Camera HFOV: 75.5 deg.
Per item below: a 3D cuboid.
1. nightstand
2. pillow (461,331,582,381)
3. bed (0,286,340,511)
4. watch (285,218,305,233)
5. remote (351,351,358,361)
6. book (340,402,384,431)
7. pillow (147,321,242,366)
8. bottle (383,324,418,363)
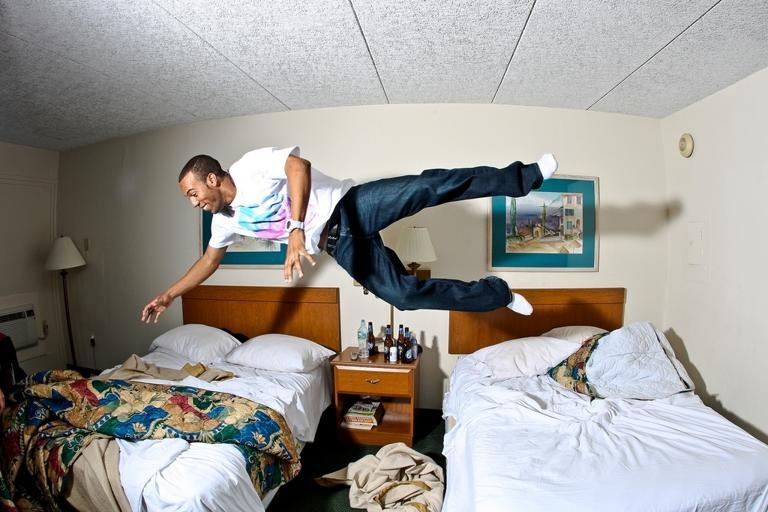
[{"bbox_3d":[-0.061,1.136,4.590,1.009,0.981,0.703,-2,-3,17],"label":"nightstand"},{"bbox_3d":[1.192,0.840,4.195,0.580,0.138,0.410,-9,2,3],"label":"pillow"},{"bbox_3d":[-1.378,1.627,5.137,3.119,1.937,1.073,-2,-9,10],"label":"bed"},{"bbox_3d":[-0.537,-0.178,2.985,0.100,0.063,0.099,3,-6,11],"label":"watch"},{"bbox_3d":[-0.271,0.892,4.491,0.056,0.042,0.044,2,0,1],"label":"remote"},{"bbox_3d":[-0.198,1.382,4.376,0.222,0.052,0.218,-3,22,11],"label":"book"},{"bbox_3d":[-1.775,0.807,4.626,0.537,0.156,0.411,1,13,18],"label":"pillow"},{"bbox_3d":[0.154,0.796,4.489,0.355,0.362,0.122,0,1,-5],"label":"bottle"}]
